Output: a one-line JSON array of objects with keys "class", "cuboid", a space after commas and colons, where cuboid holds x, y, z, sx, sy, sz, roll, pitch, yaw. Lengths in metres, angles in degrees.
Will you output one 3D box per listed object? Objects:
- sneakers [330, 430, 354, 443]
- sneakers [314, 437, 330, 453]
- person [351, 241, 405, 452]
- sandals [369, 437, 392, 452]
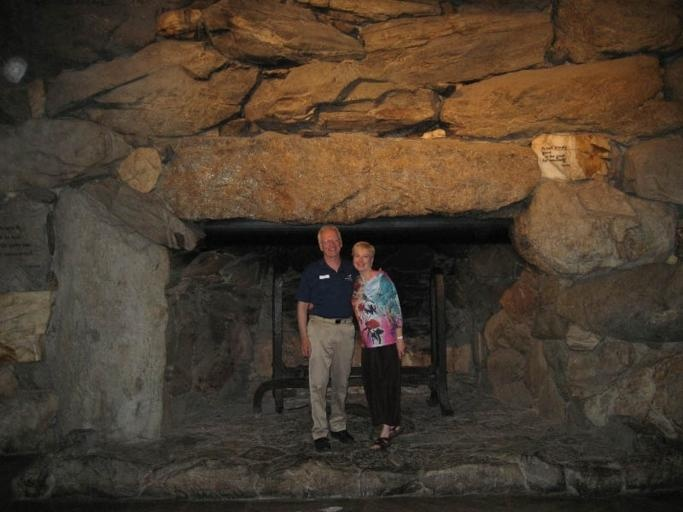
[{"class": "sneakers", "cuboid": [0.001, 1.430, 11.681, 0.188, 0.077, 0.077, -7, -7, 38]}, {"class": "sneakers", "cuboid": [-0.157, 1.478, 11.495, 0.153, 0.127, 0.124, -3, -13, 12]}, {"class": "person", "cuboid": [0.285, 0.709, 11.619, 0.397, 1.610, 0.490, -1, -13, 0]}, {"class": "sandals", "cuboid": [0.304, 1.481, 11.560, 0.158, 0.113, 0.219, -4, -13, 14]}]
